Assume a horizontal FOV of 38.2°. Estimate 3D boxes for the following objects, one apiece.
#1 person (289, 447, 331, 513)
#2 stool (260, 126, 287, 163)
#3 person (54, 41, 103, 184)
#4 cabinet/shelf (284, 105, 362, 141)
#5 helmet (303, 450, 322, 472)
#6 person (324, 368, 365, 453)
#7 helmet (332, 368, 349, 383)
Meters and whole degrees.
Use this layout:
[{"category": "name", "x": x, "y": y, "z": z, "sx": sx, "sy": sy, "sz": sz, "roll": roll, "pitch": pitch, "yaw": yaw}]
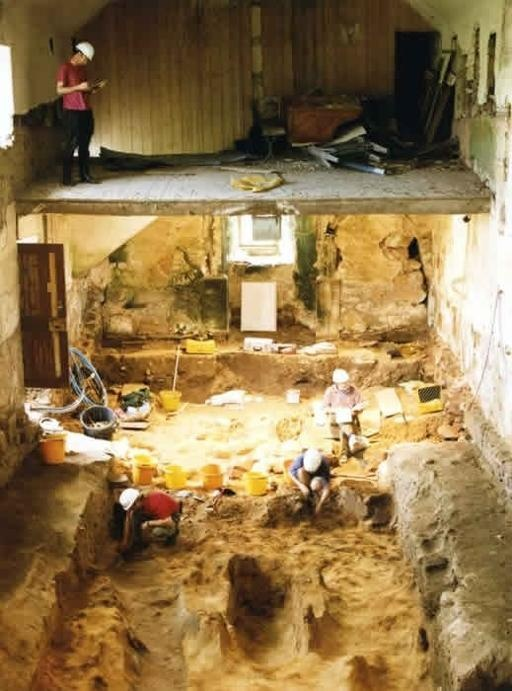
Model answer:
[{"category": "person", "x": 0.584, "y": 1.434, "z": 7.921, "sx": 0.360, "sy": 0.733, "sz": 0.826, "roll": 1, "pitch": 37, "yaw": -2}, {"category": "stool", "x": 0.300, "y": -2.946, "z": 10.792, "sx": 0.464, "sy": 0.569, "sz": 0.543, "roll": 0, "pitch": 11, "yaw": -2}, {"category": "person", "x": -1.993, "y": -2.654, "z": 8.438, "sx": 0.551, "sy": 1.558, "sz": 0.748, "roll": -7, "pitch": 15, "yaw": -9}, {"category": "cabinet/shelf", "x": 0.925, "y": -3.124, "z": 10.691, "sx": 0.757, "sy": 0.541, "sz": 0.589, "roll": 2, "pitch": 12, "yaw": 3}, {"category": "helmet", "x": 0.599, "y": 1.241, "z": 7.889, "sx": 0.165, "sy": 0.212, "sz": 0.233, "roll": 5, "pitch": 4, "yaw": -3}, {"category": "person", "x": 1.111, "y": 0.786, "z": 9.247, "sx": 0.480, "sy": 0.933, "sz": 0.816, "roll": -6, "pitch": 15, "yaw": -6}, {"category": "helmet", "x": 1.056, "y": 0.403, "z": 9.320, "sx": 0.171, "sy": 0.231, "sz": 0.229, "roll": -5, "pitch": 15, "yaw": -2}]
